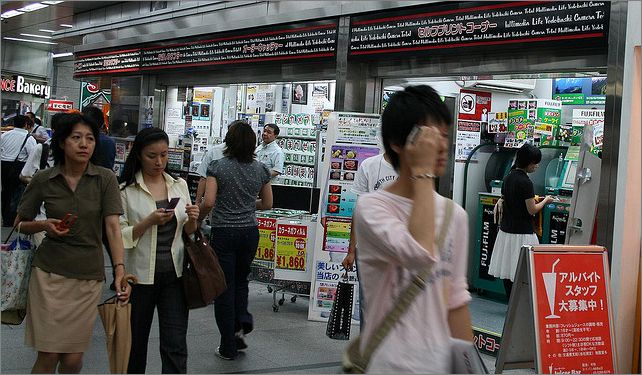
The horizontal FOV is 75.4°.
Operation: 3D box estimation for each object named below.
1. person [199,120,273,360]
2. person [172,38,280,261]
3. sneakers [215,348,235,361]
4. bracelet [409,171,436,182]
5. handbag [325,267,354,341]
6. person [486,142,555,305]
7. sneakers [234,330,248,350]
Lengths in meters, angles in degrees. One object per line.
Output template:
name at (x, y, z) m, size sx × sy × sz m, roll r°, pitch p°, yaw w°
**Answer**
person at (-0.965, 0.554, 4.432) m, size 0.705 × 2.416 × 0.317 m, roll 4°, pitch 0°, yaw -19°
person at (-1.492, -0.608, 6.005) m, size 1.406 × 1.583 × 0.898 m, roll 7°, pitch 21°, yaw 12°
sneakers at (-1.047, 1.781, 4.468) m, size 0.096 × 0.098 × 0.245 m, roll 5°, pitch 4°, yaw -43°
bracelet at (0.411, -0.043, 1.620) m, size 0.129 × 0.028 × 0.057 m, roll 2°, pitch 2°, yaw -41°
handbag at (0.179, 1.001, 3.590) m, size 0.266 × 0.584 × 0.261 m, roll 19°, pitch -18°, yaw -32°
person at (2.818, 0.502, 5.920) m, size 0.672 × 2.288 × 0.998 m, roll 5°, pitch 1°, yaw 28°
sneakers at (-0.906, 1.698, 4.649) m, size 0.085 × 0.230 × 0.103 m, roll -14°, pitch 12°, yaw -17°
